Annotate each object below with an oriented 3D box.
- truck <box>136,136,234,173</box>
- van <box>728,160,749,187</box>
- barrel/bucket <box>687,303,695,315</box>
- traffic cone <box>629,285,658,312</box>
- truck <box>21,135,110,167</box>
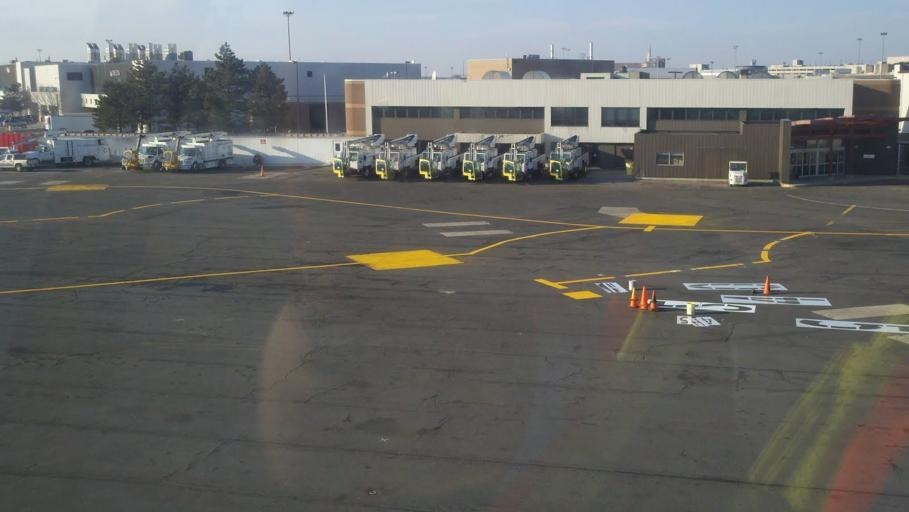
[{"bbox_3d":[-26.418,-10.193,79.340,8.219,3.458,4.518,-6,11,-27],"label":"truck"},{"bbox_3d":[23.567,-6.819,66.970,1.447,1.313,2.497,0,7,16],"label":"van"},{"bbox_3d":[10.712,2.379,36.496,0.490,0.666,0.487,-1,8,0],"label":"barrel/bucket"},{"bbox_3d":[8.823,2.037,37.740,1.151,0.955,0.593,1,7,22],"label":"traffic cone"},{"bbox_3d":[-40.450,-11.000,84.769,8.048,2.911,4.643,-7,12,-33],"label":"truck"}]
